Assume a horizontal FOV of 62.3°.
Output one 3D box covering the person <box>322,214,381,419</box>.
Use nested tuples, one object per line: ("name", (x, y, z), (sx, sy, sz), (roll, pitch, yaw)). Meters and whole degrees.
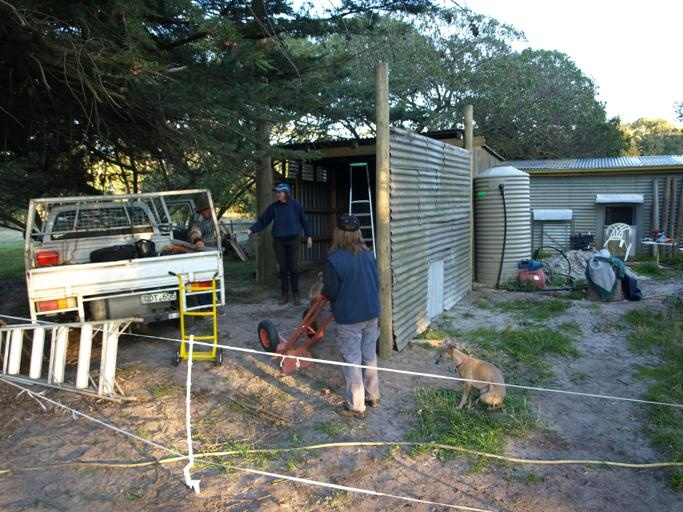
("person", (0.129, 0.686, 6.650), (0.694, 2.314, 0.479), (-2, 6, -4))

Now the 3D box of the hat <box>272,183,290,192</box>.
("hat", (-1.043, -1.193, 9.932), (0.197, 0.133, 0.376), (-1, 7, 3))

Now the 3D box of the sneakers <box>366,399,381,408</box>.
("sneakers", (0.381, 1.768, 6.813), (0.137, 0.151, 0.089), (-2, 0, 15))

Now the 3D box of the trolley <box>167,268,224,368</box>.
("trolley", (-1.927, 0.801, 7.561), (0.609, 1.369, 0.524), (1, 18, -9))

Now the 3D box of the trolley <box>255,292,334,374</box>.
("trolley", (-0.643, 0.772, 7.687), (0.912, 1.458, 1.206), (7, 30, -6))

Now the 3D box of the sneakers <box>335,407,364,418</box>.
("sneakers", (0.095, 1.812, 6.608), (0.295, 0.145, 0.126), (7, 1, 15))

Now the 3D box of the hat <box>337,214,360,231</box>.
("hat", (0.086, -0.390, 6.747), (0.267, 0.163, 0.387), (4, 18, -4))

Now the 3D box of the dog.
("dog", (1.581, 1.512, 6.954), (0.876, 0.706, 0.315), (11, 10, 40))
